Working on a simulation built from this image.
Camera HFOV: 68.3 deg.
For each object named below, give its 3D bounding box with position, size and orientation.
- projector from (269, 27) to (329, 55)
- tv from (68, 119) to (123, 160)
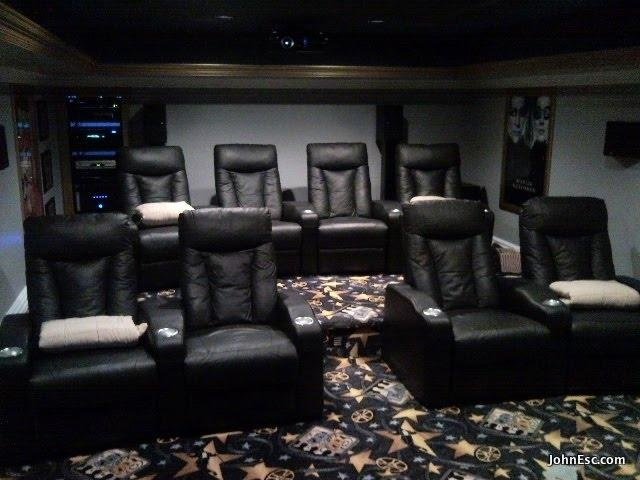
[{"bbox_3d":[-0.035,-0.382,0.905,0.118,0.037,0.032,-6,11,-26],"label":"projector"},{"bbox_3d":[-1.329,-0.586,2.938,0.398,0.198,0.367,-3,-6,-11],"label":"tv"}]
